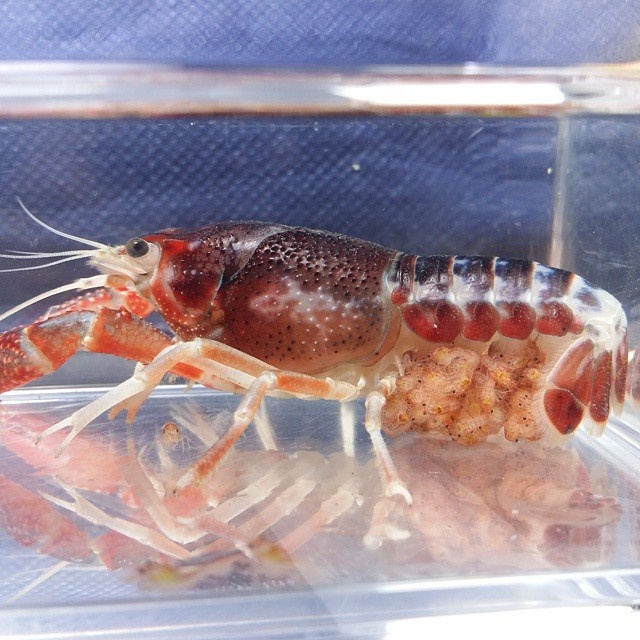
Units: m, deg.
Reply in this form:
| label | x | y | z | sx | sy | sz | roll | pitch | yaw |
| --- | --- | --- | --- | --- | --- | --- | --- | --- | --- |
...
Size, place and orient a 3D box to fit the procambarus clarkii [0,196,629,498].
| label | x | y | z | sx | sy | sz | roll | pitch | yaw |
| --- | --- | --- | --- | --- | --- | --- | --- | --- | --- |
| procambarus clarkii | 0.014 | 0.034 | 1.277 | 0.998 | 0.563 | 0.242 | -1 | 93 | 2 |
